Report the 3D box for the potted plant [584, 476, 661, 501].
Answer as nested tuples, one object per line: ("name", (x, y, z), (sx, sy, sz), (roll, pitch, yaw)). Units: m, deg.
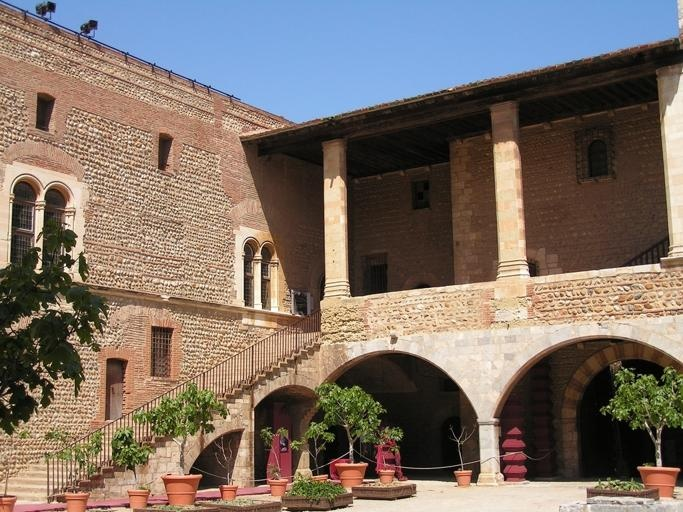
("potted plant", (5.571, 4.529, 23.241), (1.435, 0.417, 0.981), (-1, -17, 0))
